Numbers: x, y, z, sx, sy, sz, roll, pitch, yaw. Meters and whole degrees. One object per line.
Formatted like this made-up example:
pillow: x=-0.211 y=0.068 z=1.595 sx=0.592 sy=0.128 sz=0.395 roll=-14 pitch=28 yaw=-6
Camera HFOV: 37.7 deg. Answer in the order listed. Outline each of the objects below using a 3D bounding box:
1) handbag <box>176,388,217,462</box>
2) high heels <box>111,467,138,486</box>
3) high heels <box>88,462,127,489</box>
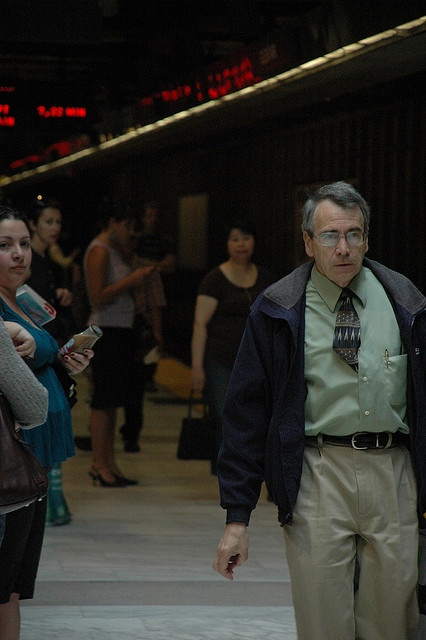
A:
handbag: x=-0.111 y=0.637 z=3.607 sx=0.149 sy=0.374 sz=0.172 roll=5 pitch=15 yaw=40
high heels: x=-0.496 y=0.868 z=3.442 sx=0.055 sy=0.052 sz=0.145 roll=-4 pitch=1 yaw=-42
high heels: x=-0.621 y=0.900 z=3.546 sx=0.263 sy=0.109 sz=0.089 roll=-6 pitch=-9 yaw=31
